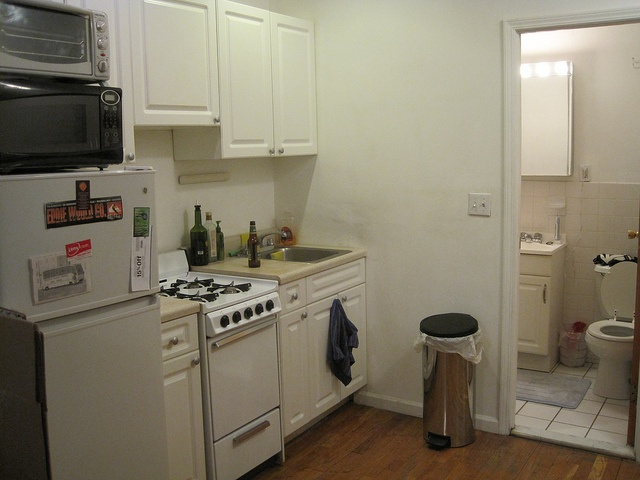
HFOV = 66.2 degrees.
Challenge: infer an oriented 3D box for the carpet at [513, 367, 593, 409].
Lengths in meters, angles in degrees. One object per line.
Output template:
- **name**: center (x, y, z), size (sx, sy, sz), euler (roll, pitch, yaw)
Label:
- **carpet**: center (1.865, 1.185, 3.920), size (0.551, 0.031, 0.672), euler (3, 11, 28)

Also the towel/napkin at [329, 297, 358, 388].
- **towel/napkin**: center (0.174, 0.705, 3.351), size (0.151, 0.622, 0.281), euler (4, 11, 34)

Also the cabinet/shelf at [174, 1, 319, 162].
- **cabinet/shelf**: center (-0.481, -0.989, 3.055), size (0.411, 1.008, 1.099), euler (1, 3, 35)

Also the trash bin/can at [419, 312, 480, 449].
- **trash bin/can**: center (0.821, 0.934, 3.140), size (0.340, 0.780, 0.271), euler (0, 9, 12)

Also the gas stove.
- **gas stove**: center (-0.644, 0.296, 2.831), size (0.582, 0.336, 0.428), euler (6, 10, 38)

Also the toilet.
- **toilet**: center (2.272, 0.693, 3.847), size (0.313, 0.968, 0.620), euler (4, 11, 32)

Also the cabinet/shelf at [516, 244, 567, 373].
- **cabinet/shelf**: center (1.946, 0.580, 4.323), size (0.335, 1.074, 0.450), euler (3, 10, 27)
